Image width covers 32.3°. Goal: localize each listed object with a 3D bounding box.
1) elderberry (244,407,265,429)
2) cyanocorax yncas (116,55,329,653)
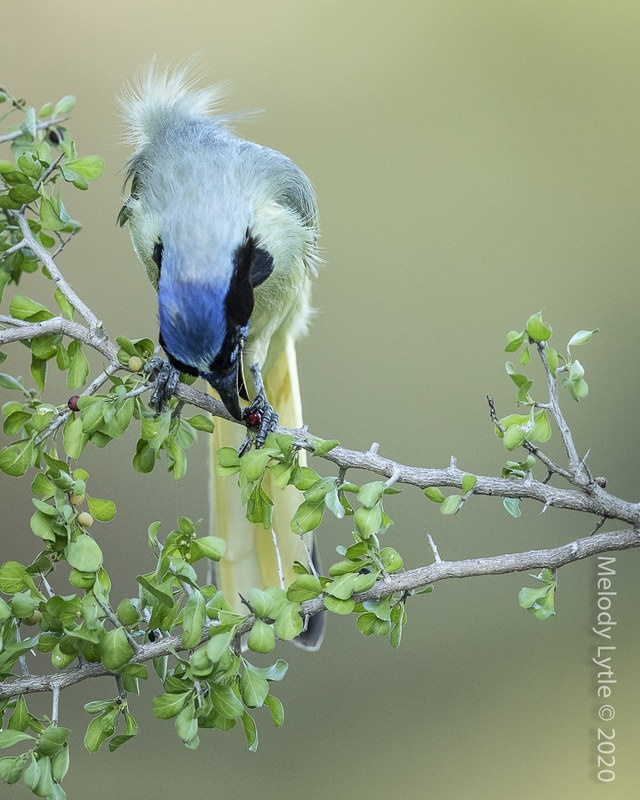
[{"bbox_3d":[-0.119,0.040,2.184,0.038,0.040,0.039,-25,-29,37],"label":"elderberry"},{"bbox_3d":[-0.272,0.019,2.664,0.460,0.748,1.600,0,-55,3],"label":"cyanocorax yncas"}]
